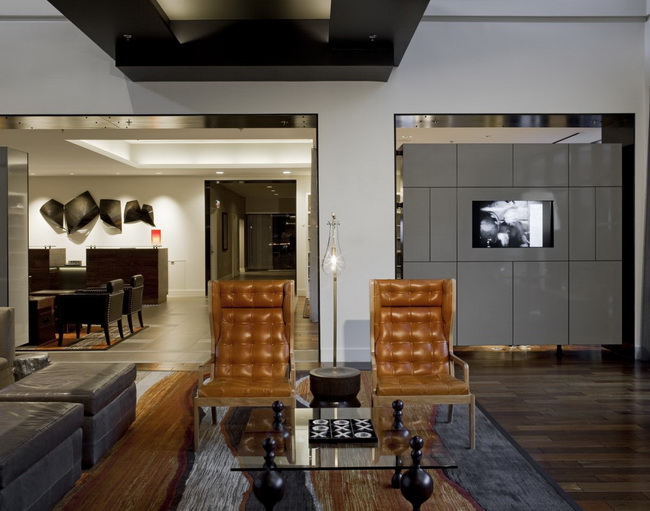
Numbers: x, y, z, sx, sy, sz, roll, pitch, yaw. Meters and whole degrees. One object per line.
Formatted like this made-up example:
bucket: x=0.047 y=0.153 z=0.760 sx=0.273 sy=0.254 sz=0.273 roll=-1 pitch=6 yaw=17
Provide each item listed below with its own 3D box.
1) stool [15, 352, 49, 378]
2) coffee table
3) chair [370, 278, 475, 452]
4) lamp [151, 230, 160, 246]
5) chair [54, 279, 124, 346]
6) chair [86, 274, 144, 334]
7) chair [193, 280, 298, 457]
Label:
stool: x=-2.788 y=1.010 z=5.123 sx=0.265 sy=0.204 sz=0.267 roll=2 pitch=1 yaw=-16
coffee table: x=0.061 y=1.283 z=3.477 sx=1.230 sy=0.581 sz=0.810 roll=-2 pitch=0 yaw=-4
chair: x=0.744 y=0.799 z=4.428 sx=0.759 sy=1.307 sz=0.996 roll=0 pitch=-7 yaw=-2
lamp: x=-3.835 y=-0.392 z=12.116 sx=0.235 sy=0.387 sz=0.352 roll=-2 pitch=0 yaw=-18
chair: x=-3.239 y=0.784 z=7.454 sx=0.768 sy=0.824 sz=0.693 roll=-1 pitch=-1 yaw=8
chair: x=-3.101 y=0.728 z=8.235 sx=0.494 sy=0.810 sz=0.618 roll=1 pitch=1 yaw=3
chair: x=-0.662 y=0.738 z=4.792 sx=0.990 sy=1.692 sz=1.183 roll=0 pitch=-4 yaw=-1
